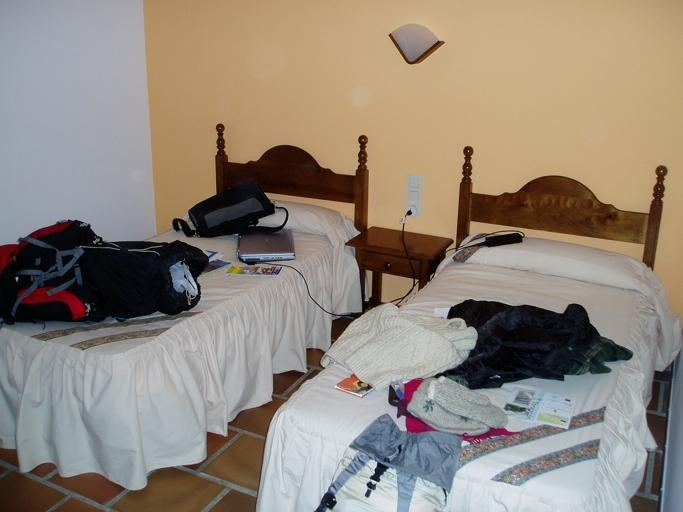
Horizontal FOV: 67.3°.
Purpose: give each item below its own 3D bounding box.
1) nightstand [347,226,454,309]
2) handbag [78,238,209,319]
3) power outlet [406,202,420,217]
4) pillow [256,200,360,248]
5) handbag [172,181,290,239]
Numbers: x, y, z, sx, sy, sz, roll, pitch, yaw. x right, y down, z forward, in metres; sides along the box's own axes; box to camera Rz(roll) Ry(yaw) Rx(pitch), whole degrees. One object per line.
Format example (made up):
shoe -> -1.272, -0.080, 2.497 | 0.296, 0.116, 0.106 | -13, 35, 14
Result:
nightstand -> 0.410, 0.177, 4.065 | 0.794, 0.764, 0.517 | 12, 26, 27
handbag -> -1.085, 0.107, 2.772 | 0.466, 0.212, 0.455 | 3, 27, 2
power outlet -> 0.555, -0.366, 3.965 | 0.098, 0.099, 0.052 | 9, 15, 36
pillow -> -0.237, -0.280, 3.959 | 0.596, 0.144, 0.362 | 17, 39, 6
handbag -> -0.838, -0.326, 3.824 | 0.526, 0.177, 0.520 | -17, 27, -19
